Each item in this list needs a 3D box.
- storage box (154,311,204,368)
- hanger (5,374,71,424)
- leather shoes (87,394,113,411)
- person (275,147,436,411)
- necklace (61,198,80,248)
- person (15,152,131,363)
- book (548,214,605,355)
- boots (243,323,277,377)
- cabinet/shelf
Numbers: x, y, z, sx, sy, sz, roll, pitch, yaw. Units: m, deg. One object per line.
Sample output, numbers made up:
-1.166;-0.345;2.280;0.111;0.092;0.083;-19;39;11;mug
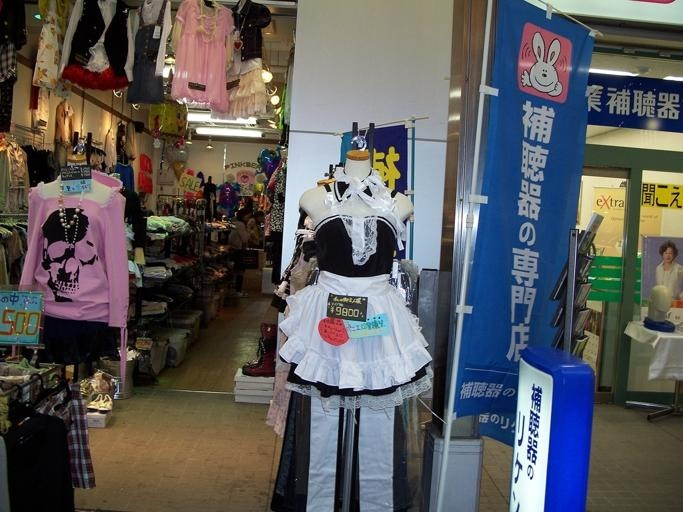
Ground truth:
-1.989;0.982;5.953;0.456;0.466;1.275;2;6;-15;storage box
-1.584;0.755;2.538;0.128;0.117;0.228;0;16;-7;hanger
-2.073;1.251;4.208;0.109;0.074;0.194;0;-10;-3;leather shoes
0.078;0.108;2.500;0.722;1.246;0.612;-1;10;-7;person
-1.590;-0.189;2.842;0.112;0.260;0.042;3;5;4;necklace
-1.589;0.072;2.907;0.592;1.135;0.164;2;5;-9;person
1.154;0.143;2.407;0.184;0.702;0.437;6;6;27;book
-0.816;0.921;4.828;0.331;0.504;0.276;3;5;-4;boots
-2.132;0.375;6.943;0.640;1.480;3.967;2;6;-8;cabinet/shelf
